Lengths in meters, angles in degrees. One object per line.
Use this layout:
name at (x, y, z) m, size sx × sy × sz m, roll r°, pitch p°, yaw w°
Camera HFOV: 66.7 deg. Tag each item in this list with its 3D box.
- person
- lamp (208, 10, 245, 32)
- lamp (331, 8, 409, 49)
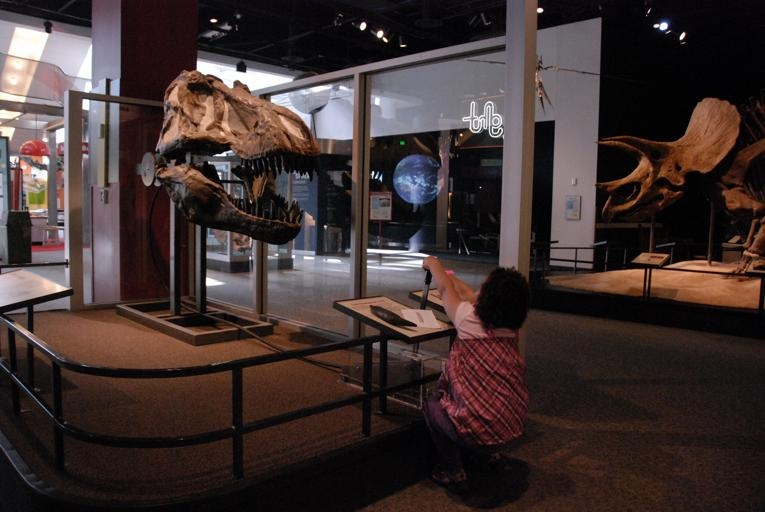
person at (0.773, 1.010, 4.852) m, size 0.833 × 1.831 × 0.541 m, roll 5°, pitch 14°, yaw 15°
lamp at (-3.544, -5.213, 13.001) m, size 0.534 × 0.144 × 0.545 m, roll 13°, pitch 50°, yaw 9°
lamp at (-0.288, -5.436, 13.799) m, size 1.297 × 0.490 × 0.431 m, roll 20°, pitch 16°, yaw -40°
